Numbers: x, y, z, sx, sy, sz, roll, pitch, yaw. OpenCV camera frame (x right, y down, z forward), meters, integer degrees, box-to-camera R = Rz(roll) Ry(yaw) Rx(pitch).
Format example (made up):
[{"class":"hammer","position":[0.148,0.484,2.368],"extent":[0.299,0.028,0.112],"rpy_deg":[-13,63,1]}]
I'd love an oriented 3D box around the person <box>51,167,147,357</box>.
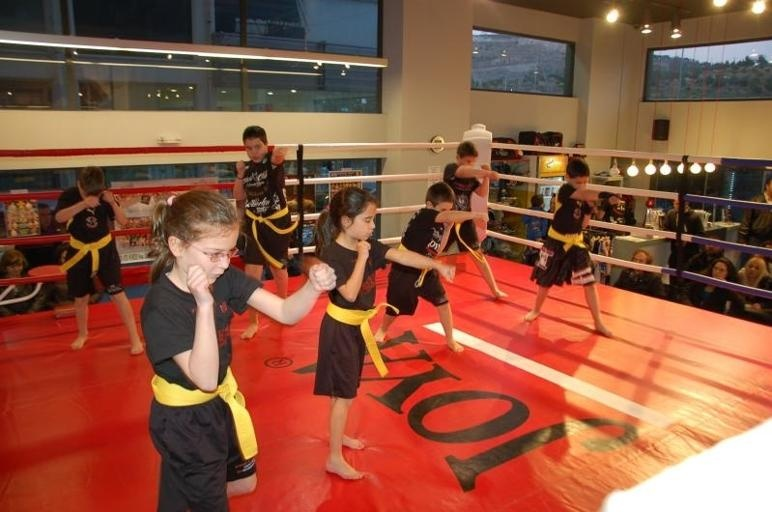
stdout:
[{"class":"person","position":[-2.318,0.028,4.142],"extent":[0.701,1.459,0.438],"rpy_deg":[4,18,8]}]

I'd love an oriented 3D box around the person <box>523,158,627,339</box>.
[{"class":"person","position":[1.675,-0.095,4.508],"extent":[0.679,1.485,0.452],"rpy_deg":[10,19,24]}]
